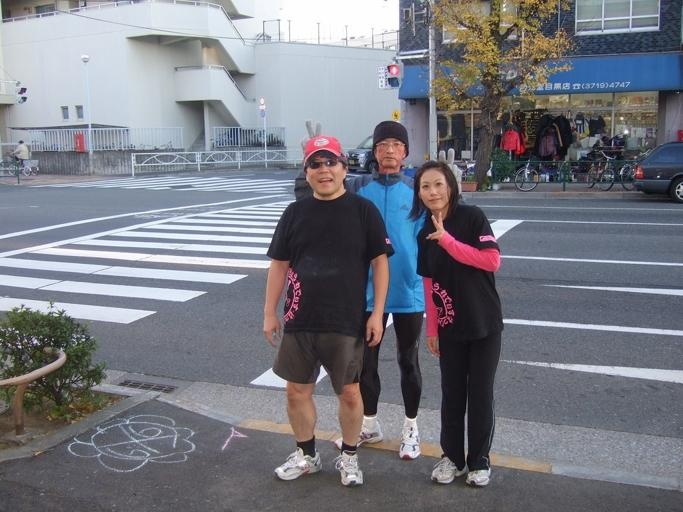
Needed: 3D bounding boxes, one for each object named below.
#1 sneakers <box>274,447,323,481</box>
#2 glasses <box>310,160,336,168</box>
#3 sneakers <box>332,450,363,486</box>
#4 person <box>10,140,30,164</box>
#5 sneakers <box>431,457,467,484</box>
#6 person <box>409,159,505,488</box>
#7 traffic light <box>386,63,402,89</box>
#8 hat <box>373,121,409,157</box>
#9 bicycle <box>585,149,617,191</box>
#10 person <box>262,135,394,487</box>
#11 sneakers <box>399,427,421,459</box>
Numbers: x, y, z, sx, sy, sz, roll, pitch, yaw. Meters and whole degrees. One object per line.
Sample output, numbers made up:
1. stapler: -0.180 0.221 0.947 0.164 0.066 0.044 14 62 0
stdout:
1. sneakers: -0.299 1.429 4.009 0.358 0.189 0.144 -11 10 -23
2. glasses: -0.123 -0.615 3.750 0.190 0.074 0.053 -1 10 -3
3. sneakers: 0.062 1.447 3.836 0.121 0.122 0.255 -2 20 -9
4. person: -19.451 -6.273 34.441 0.894 1.201 0.997 -10 14 -43
5. sneakers: 0.731 1.474 3.940 0.103 0.130 0.265 -31 -10 22
6. person: 0.771 0.444 3.860 0.613 2.148 0.482 4 11 22
7. traffic light: 2.014 -7.084 21.994 0.552 0.870 0.667 -5 11 -26
8. hat: 0.378 -0.939 4.332 0.246 0.212 0.262 2 -9 8
9. bicycle: 9.876 -3.118 21.506 1.015 1.123 0.630 5 12 27
10. person: -0.107 0.370 3.837 0.863 2.312 0.438 1 10 5
11. sneakers: 0.497 1.380 4.175 0.096 0.131 0.286 3 30 11
